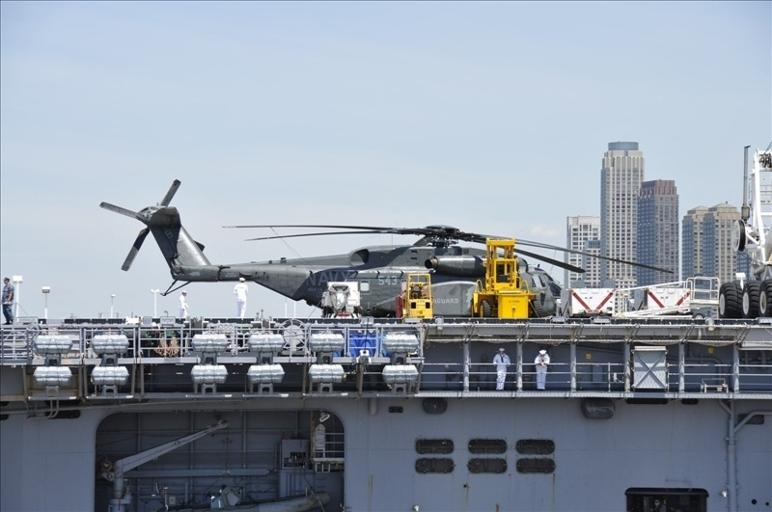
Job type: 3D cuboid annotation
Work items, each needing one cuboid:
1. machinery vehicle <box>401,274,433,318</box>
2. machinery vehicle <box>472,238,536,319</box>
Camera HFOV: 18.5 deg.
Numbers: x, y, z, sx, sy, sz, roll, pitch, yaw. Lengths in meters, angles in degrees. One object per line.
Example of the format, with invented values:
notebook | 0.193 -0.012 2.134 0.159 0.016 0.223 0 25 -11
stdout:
machinery vehicle | 1.529 2.161 117.707 1.681 3.260 4.033 -1 -13 1
machinery vehicle | 5.798 1.402 117.681 3.031 4.672 3.189 -1 -14 1
